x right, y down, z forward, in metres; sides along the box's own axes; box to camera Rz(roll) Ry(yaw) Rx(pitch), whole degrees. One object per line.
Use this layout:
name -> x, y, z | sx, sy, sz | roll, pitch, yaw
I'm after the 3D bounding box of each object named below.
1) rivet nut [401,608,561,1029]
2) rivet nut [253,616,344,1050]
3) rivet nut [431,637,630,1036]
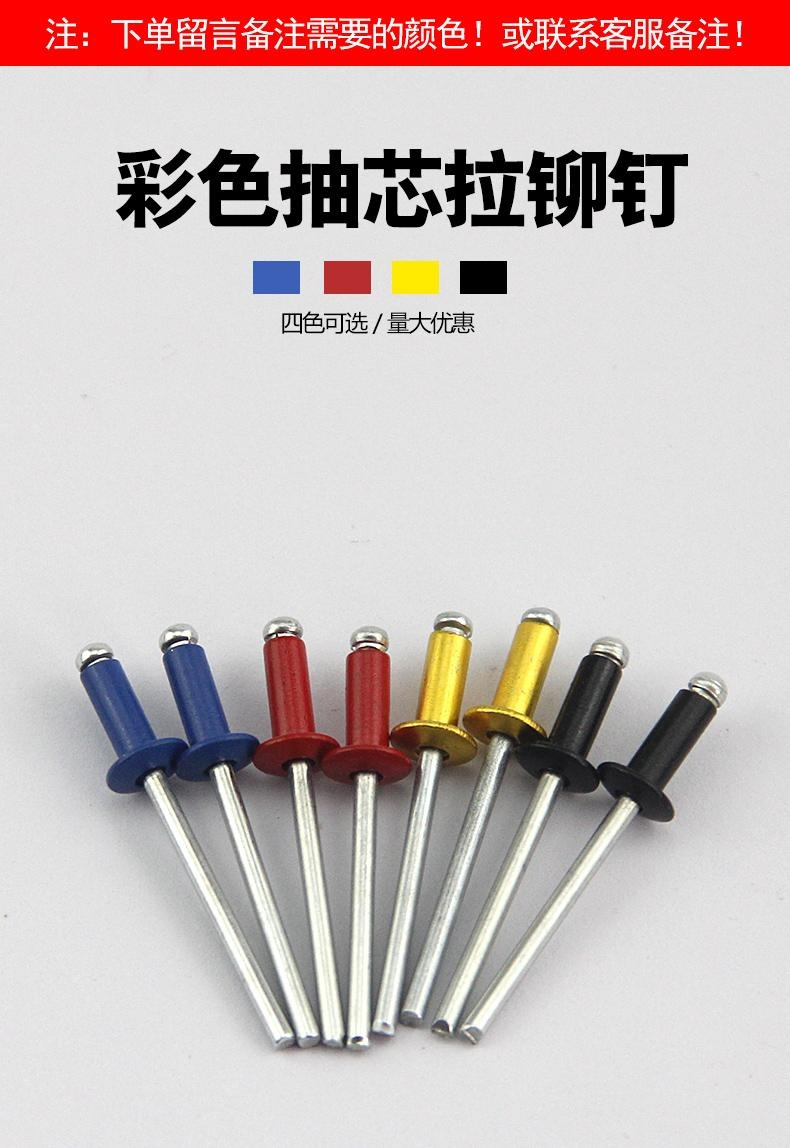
rivet nut -> 0.096, 0.213, 1.164 | 0.110, 0.103, 0.439 | 24, 68, -11
rivet nut -> -0.102, 0.228, 1.120 | 0.094, 0.089, 0.353 | -17, 62, 22
rivet nut -> 0.140, 0.232, 1.132 | 0.117, 0.108, 0.465 | 23, 69, 0
